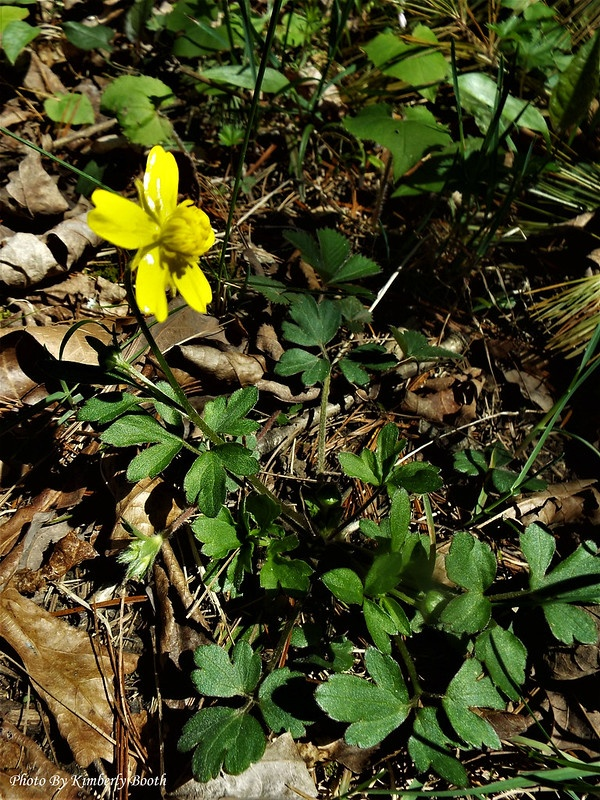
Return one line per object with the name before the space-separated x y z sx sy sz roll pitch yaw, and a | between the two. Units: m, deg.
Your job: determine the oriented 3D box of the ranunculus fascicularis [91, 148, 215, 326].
ranunculus fascicularis | -0.385 -0.446 1.990 0.331 0.420 0.464 15 35 -8
